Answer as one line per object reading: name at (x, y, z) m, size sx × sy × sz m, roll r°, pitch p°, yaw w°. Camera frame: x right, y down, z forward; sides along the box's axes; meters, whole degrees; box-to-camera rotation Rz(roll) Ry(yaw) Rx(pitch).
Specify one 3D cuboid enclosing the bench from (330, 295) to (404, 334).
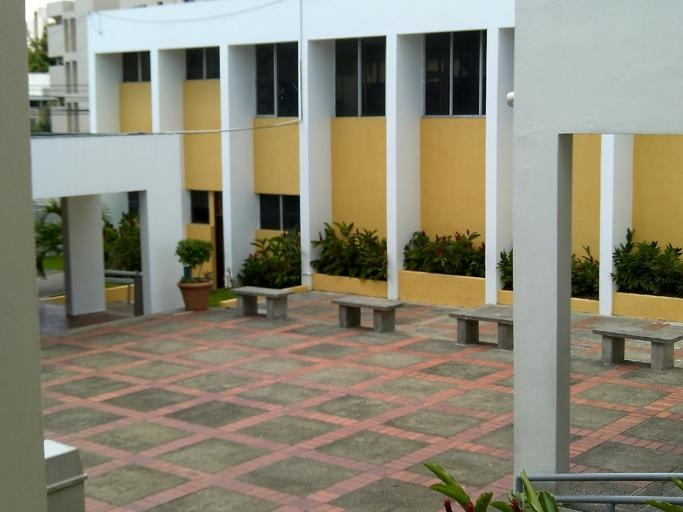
bench at (0.660, 1.296, 16.969) m, size 1.424 × 0.691 × 0.814 m, roll 6°, pitch 11°, yaw 39°

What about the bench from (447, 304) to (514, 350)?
bench at (2.990, 1.436, 15.547) m, size 1.244 × 0.715 × 1.232 m, roll 2°, pitch 10°, yaw 20°

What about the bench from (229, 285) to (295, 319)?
bench at (-1.871, 1.105, 18.268) m, size 1.291 × 0.668 × 0.711 m, roll 6°, pitch 12°, yaw 40°
